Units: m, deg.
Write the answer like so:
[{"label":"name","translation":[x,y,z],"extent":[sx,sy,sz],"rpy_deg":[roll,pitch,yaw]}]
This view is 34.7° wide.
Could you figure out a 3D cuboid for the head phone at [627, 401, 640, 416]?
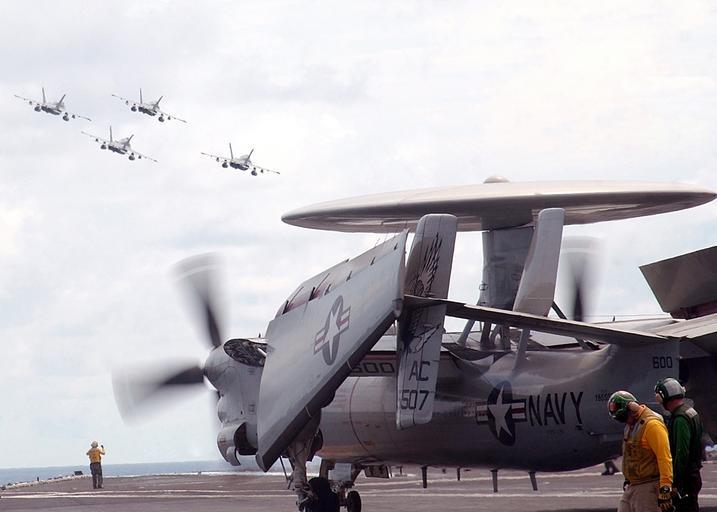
[{"label":"head phone","translation":[4.710,2.611,19.736],"extent":[0.217,0.211,0.246],"rpy_deg":[-1,-39,3]}]
